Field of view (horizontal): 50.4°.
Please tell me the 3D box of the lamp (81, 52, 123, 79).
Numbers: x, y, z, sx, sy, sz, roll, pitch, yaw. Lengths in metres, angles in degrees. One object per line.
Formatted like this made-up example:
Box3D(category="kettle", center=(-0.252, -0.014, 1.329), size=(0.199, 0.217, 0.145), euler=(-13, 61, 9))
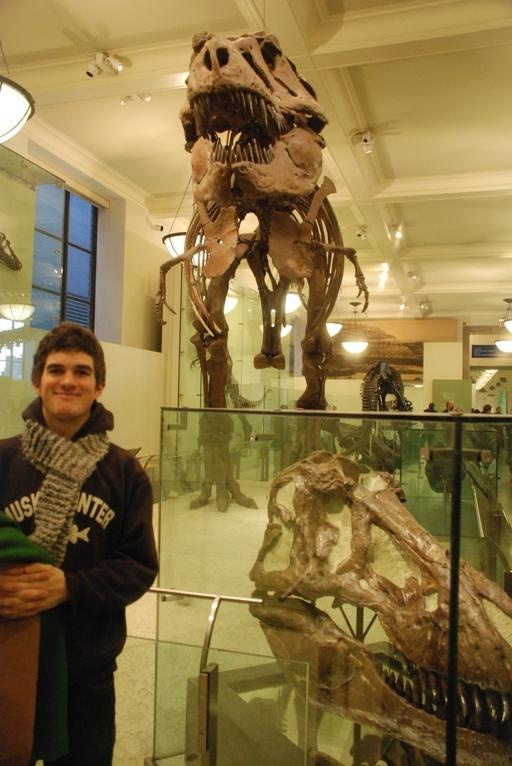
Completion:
Box3D(category="lamp", center=(-1.373, -2.919, 4.957), size=(0.343, 0.189, 0.373), euler=(1, 0, -5))
